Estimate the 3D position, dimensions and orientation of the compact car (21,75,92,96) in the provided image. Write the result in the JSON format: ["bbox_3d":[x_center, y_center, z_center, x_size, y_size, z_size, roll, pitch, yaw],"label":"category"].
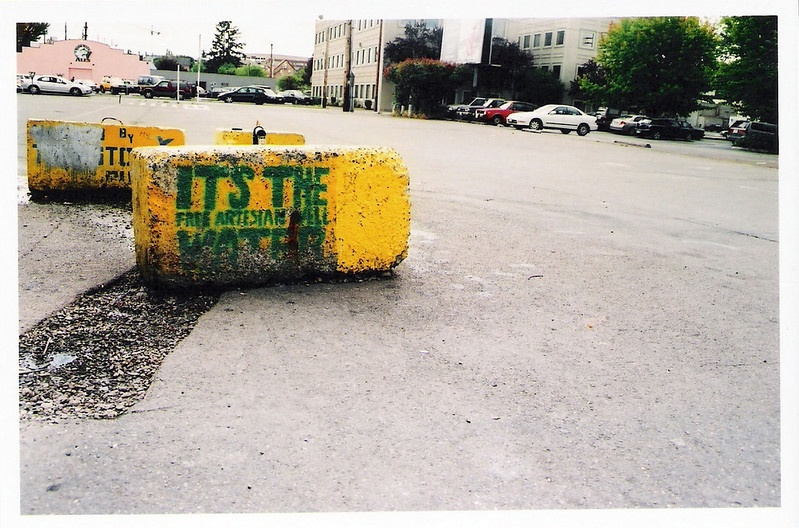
[{"bbox_3d":[-21.698,-11.375,39.459,1.428,1.206,4.756,6,17,6],"label":"compact car"}]

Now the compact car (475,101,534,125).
[{"bbox_3d":[5.592,-8.301,33.816,2.849,0.788,1.315,-2,14,-17],"label":"compact car"}]

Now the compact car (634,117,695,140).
[{"bbox_3d":[14.489,-7.416,33.889,3.801,1.105,0.725,-4,19,-24],"label":"compact car"}]

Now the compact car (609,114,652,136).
[{"bbox_3d":[12.570,-7.649,33.805,2.086,0.625,0.866,-9,21,-15],"label":"compact car"}]

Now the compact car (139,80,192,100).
[{"bbox_3d":[-18.137,-13.589,48.353,4.265,1.621,2.014,0,16,-21],"label":"compact car"}]

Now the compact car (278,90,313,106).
[{"bbox_3d":[-10.221,-15.057,56.649,3.149,0.971,1.764,14,24,37],"label":"compact car"}]

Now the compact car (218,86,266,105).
[{"bbox_3d":[-12.650,-13.539,49.635,3.505,1.079,1.557,-1,16,-17],"label":"compact car"}]
